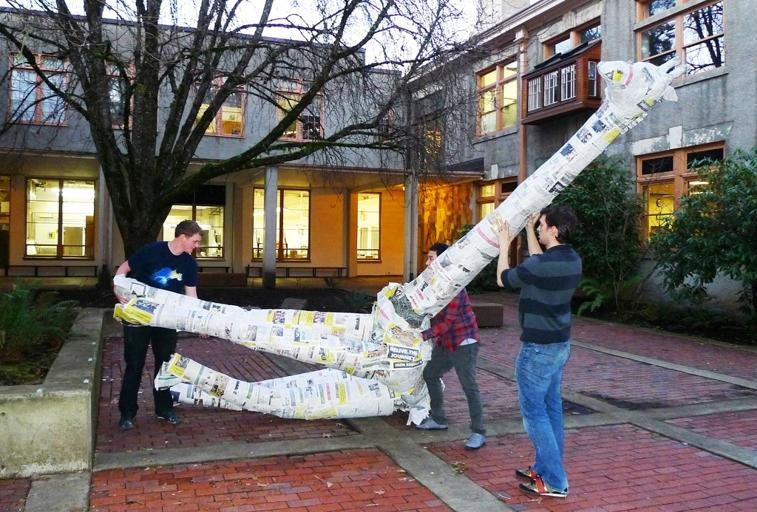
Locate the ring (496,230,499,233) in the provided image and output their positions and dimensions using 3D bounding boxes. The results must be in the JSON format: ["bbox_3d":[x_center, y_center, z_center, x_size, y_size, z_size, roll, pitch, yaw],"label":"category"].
[{"bbox_3d":[1.190,-0.243,5.817,0.025,0.021,0.005,-1,-24,2],"label":"ring"}]

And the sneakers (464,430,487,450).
[{"bbox_3d":[1.086,2.064,6.502,0.127,0.109,0.267,-5,-12,28],"label":"sneakers"}]

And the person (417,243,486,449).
[{"bbox_3d":[0.845,0.995,6.657,0.693,2.240,0.880,-3,7,-30],"label":"person"}]

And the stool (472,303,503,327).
[{"bbox_3d":[2.518,1.368,13.294,0.650,0.360,0.617,0,5,3],"label":"stool"}]

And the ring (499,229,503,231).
[{"bbox_3d":[1.213,-0.258,5.812,0.029,0.024,0.006,-2,-10,25],"label":"ring"}]

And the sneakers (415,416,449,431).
[{"bbox_3d":[0.637,2.015,6.995,0.404,0.156,0.141,3,-5,0],"label":"sneakers"}]

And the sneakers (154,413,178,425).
[{"bbox_3d":[-2.540,1.952,6.988,0.316,0.113,0.109,0,2,18],"label":"sneakers"}]

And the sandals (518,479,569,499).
[{"bbox_3d":[1.583,2.249,5.628,0.451,0.158,0.171,3,0,25],"label":"sandals"}]

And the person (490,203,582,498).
[{"bbox_3d":[1.564,0.904,5.759,0.746,2.799,0.584,3,7,17],"label":"person"}]

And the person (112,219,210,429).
[{"bbox_3d":[-2.567,0.787,6.880,0.951,2.405,0.671,-1,7,-22],"label":"person"}]
